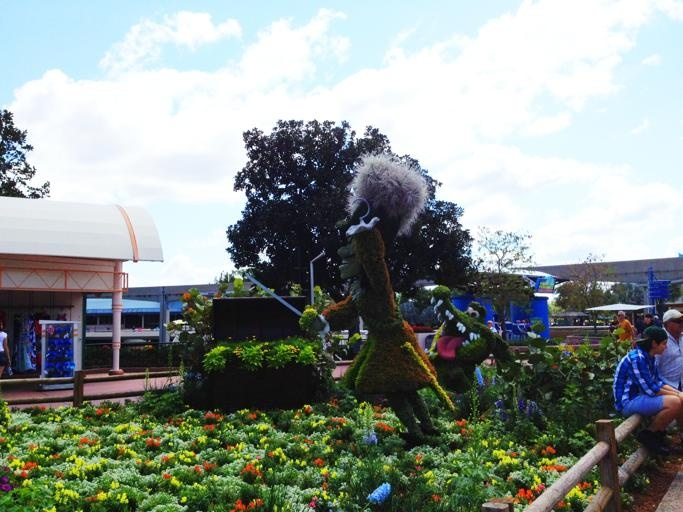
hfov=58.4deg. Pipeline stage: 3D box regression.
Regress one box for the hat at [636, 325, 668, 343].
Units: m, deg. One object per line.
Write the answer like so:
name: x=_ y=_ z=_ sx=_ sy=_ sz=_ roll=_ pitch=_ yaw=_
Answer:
hat: x=4.287 y=1.089 z=8.406 sx=0.286 sy=0.253 sz=0.213 roll=-3 pitch=-1 yaw=16
